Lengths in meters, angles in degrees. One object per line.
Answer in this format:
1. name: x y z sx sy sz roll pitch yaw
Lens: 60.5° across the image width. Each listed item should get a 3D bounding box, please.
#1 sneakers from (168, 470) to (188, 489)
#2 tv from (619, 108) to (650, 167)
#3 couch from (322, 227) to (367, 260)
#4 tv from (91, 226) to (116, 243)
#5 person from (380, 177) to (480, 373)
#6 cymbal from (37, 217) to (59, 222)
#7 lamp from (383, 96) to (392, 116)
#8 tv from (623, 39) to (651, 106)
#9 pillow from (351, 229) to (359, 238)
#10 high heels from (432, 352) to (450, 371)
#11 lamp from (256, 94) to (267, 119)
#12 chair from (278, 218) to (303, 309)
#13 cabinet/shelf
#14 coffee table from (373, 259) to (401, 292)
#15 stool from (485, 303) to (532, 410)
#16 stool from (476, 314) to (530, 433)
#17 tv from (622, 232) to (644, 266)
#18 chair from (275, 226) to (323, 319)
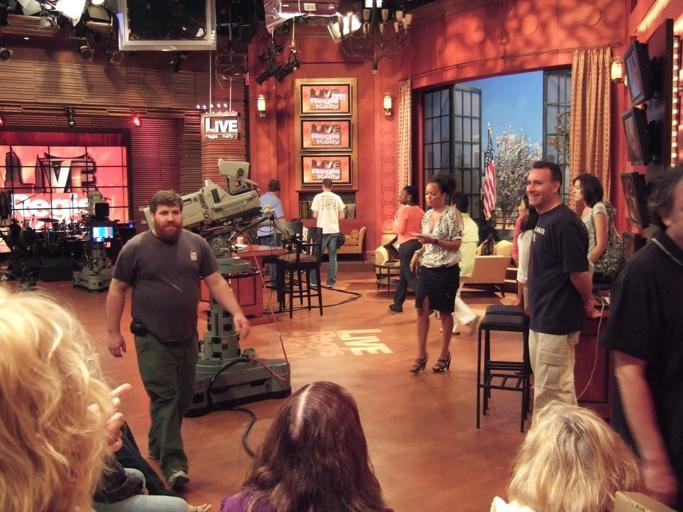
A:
1. sneakers: -0.914 1.268 3.294 0.068 0.069 0.151 -1 -34 -26
2. tv: 2.416 -0.970 4.788 0.187 0.466 0.557 1 6 26
3. couch: 0.084 -0.231 12.006 0.863 0.590 0.521 1 2 -9
4. tv: -4.197 -0.389 10.278 0.429 0.327 0.237 1 3 -19
5. person: 0.853 0.171 5.237 0.461 1.793 0.663 -1 5 4
6. cymbal: -6.942 -0.833 13.718 0.316 0.085 0.337 4 4 8
7. lamp: 0.963 -3.072 11.985 0.193 0.381 0.206 -1 5 4
8. tv: 2.332 -1.446 4.610 0.188 0.500 0.492 1 6 25
9. pillow: 0.284 -0.460 12.241 0.142 0.157 0.143 10 2 8
10. high heels: 0.927 0.992 5.368 0.084 0.131 0.243 -5 -1 38
11. lamp: -1.612 -3.041 11.826 0.190 0.451 0.374 -1 5 -3
12. chair: -0.659 0.105 7.930 0.420 1.193 0.472 -3 12 -23
13. cabinet/shelf: -1.282 0.467 7.781 0.676 0.749 0.675 -4 0 -26
14. coffee table: 0.784 0.330 10.074 0.452 0.326 0.478 0 2 1
15. stool: 1.239 0.782 4.399 0.366 0.812 1.091 1 6 18
16. stool: 1.257 0.943 4.558 0.281 0.715 0.787 0 4 18
17. tv: 1.873 -0.051 3.764 0.120 0.262 0.232 5 5 14
18. chair: -0.657 0.184 8.427 0.524 1.156 1.584 -1 3 -17
